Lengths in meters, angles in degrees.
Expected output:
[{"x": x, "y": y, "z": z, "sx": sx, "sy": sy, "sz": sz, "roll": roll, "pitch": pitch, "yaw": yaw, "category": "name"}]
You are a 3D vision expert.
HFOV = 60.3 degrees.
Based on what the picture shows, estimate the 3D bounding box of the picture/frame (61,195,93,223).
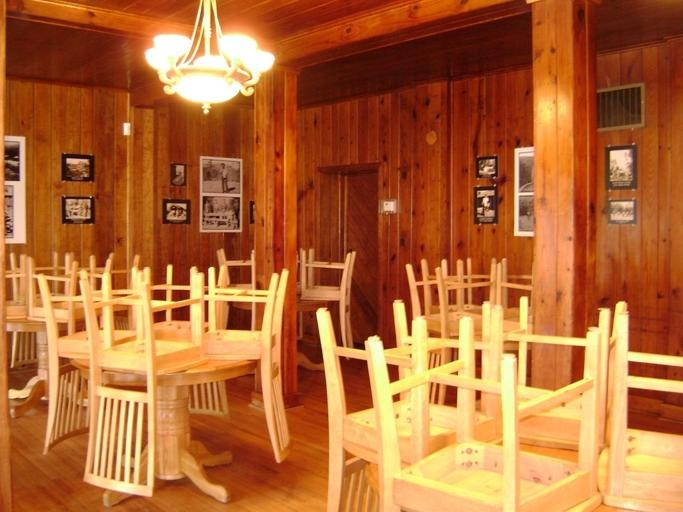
[{"x": -3.215, "y": -0.563, "z": 7.098, "sx": 0.339, "sy": 0.362, "sz": 0.050, "roll": -1, "pitch": 0, "yaw": -31, "category": "picture/frame"}]

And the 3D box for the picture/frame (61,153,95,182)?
[{"x": -3.211, "y": -1.057, "z": 7.104, "sx": 0.358, "sy": 0.362, "sz": 0.035, "roll": 0, "pitch": -1, "yaw": -37, "category": "picture/frame"}]

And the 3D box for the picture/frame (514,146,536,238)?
[{"x": 1.889, "y": -0.655, "z": 6.109, "sx": 0.266, "sy": 0.926, "sz": 0.099, "roll": 5, "pitch": 7, "yaw": 44, "category": "picture/frame"}]

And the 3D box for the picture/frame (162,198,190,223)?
[{"x": -2.159, "y": -0.576, "z": 7.604, "sx": 0.325, "sy": 0.279, "sz": 0.024, "roll": -1, "pitch": -1, "yaw": -40, "category": "picture/frame"}]

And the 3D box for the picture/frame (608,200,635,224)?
[{"x": 2.599, "y": -0.403, "z": 5.426, "sx": 0.025, "sy": 0.220, "sz": 0.216, "roll": 4, "pitch": -1, "yaw": -42, "category": "picture/frame"}]

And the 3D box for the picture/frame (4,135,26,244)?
[{"x": -3.703, "y": -0.745, "z": 6.709, "sx": 0.217, "sy": 1.219, "sz": 0.116, "roll": -3, "pitch": 6, "yaw": -35, "category": "picture/frame"}]

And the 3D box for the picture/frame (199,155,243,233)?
[{"x": -1.638, "y": -0.820, "z": 8.001, "sx": 0.659, "sy": 0.997, "sz": 0.096, "roll": -3, "pitch": 6, "yaw": -38, "category": "picture/frame"}]
